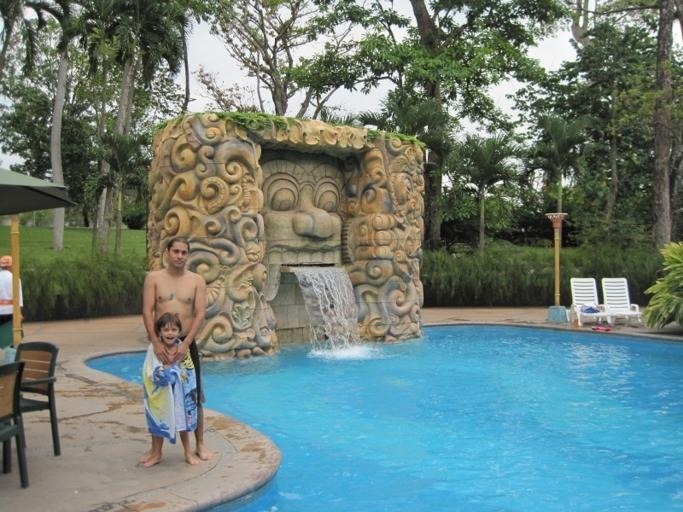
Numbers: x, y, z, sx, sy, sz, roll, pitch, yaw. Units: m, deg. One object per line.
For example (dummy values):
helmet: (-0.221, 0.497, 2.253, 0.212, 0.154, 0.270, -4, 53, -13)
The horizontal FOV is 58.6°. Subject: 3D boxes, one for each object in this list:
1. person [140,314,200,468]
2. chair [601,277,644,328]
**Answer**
person: (-2.015, 1.576, 7.146, 0.646, 1.818, 0.370, 0, 4, -14)
chair: (7.924, 1.360, 17.541, 0.739, 1.255, 1.314, -2, 5, 8)
